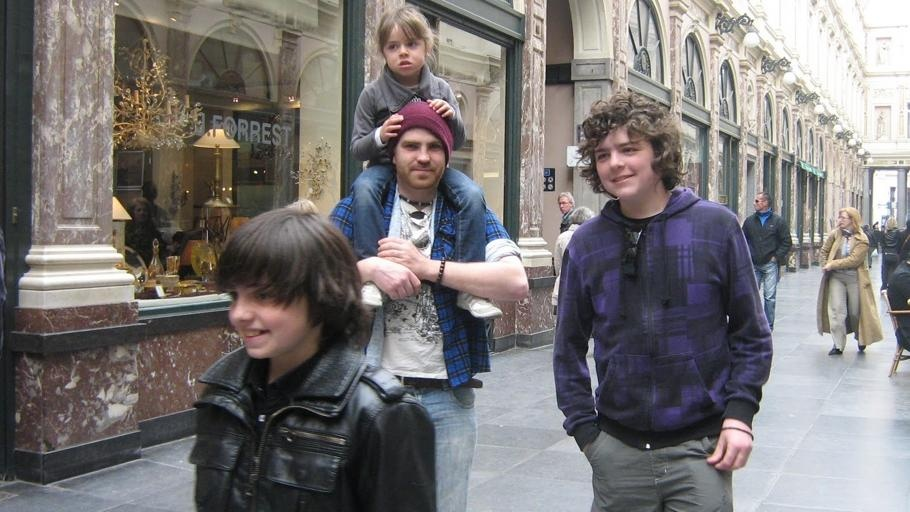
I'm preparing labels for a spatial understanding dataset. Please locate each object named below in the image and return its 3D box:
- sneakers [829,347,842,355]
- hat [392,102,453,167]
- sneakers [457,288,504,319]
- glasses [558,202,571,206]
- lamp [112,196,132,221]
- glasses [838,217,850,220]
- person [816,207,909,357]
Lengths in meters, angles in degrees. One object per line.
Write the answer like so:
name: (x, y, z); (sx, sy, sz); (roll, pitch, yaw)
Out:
sneakers: (6.598, 1.656, 11.863); (0.331, 0.122, 0.103); (-1, 1, -13)
hat: (-0.162, -0.681, 3.895); (0.285, 0.262, 0.352); (-2, -24, 9)
sneakers: (0.129, 0.262, 3.819); (0.298, 0.211, 0.107); (6, 11, 39)
glasses: (1.953, -0.945, 12.213); (0.112, 0.044, 0.130); (-4, -9, 38)
lamp: (-3.318, -0.476, 6.816); (0.053, 0.249, 0.211); (2, 4, 8)
glasses: (6.906, -0.676, 12.137); (0.097, 0.027, 0.091); (7, -4, -7)
person: (6.909, 0.436, 11.937); (0.986, 2.507, 0.837); (5, 6, 40)
